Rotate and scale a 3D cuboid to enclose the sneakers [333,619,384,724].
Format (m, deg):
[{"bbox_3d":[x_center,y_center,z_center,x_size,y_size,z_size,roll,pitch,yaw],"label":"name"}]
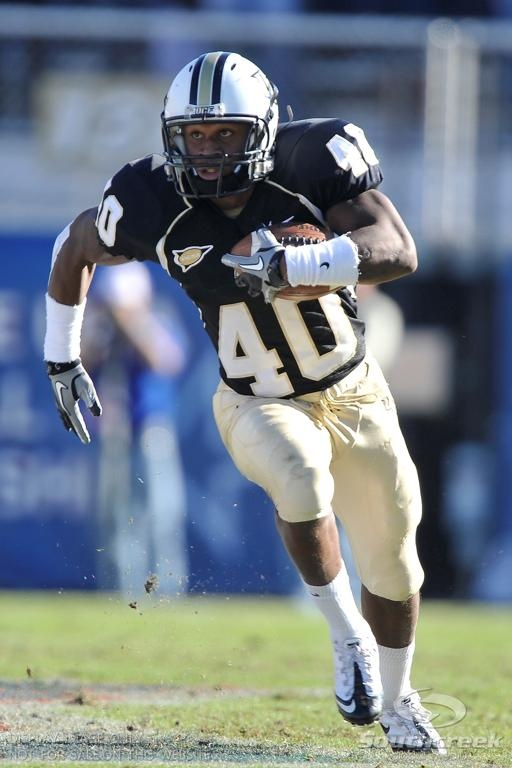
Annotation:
[{"bbox_3d":[0.229,0.659,2.193,0.104,0.199,0.149,-1,11,3],"label":"sneakers"}]

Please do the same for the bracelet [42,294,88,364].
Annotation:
[{"bbox_3d":[-0.568,-0.167,2.837,0.134,0.182,0.137,7,14,5],"label":"bracelet"}]

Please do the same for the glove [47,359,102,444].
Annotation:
[{"bbox_3d":[-0.529,0.035,2.846,0.086,0.249,0.156,-25,3,-42],"label":"glove"}]

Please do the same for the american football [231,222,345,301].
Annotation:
[{"bbox_3d":[0.067,-0.255,1.969,0.207,0.154,0.099,-1,0,-3],"label":"american football"}]

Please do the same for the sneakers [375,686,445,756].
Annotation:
[{"bbox_3d":[0.391,0.848,2.445,0.082,0.136,0.242,-4,-8,-40],"label":"sneakers"}]

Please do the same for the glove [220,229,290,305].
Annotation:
[{"bbox_3d":[-0.001,-0.245,1.979,0.128,0.146,0.130,-2,10,-2],"label":"glove"}]

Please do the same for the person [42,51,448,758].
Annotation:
[{"bbox_3d":[0.013,0.114,2.446,0.790,1.689,1.154,-8,-2,-41],"label":"person"}]

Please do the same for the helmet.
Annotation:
[{"bbox_3d":[-0.085,-0.659,2.418,0.320,0.303,0.364,7,23,19],"label":"helmet"}]
